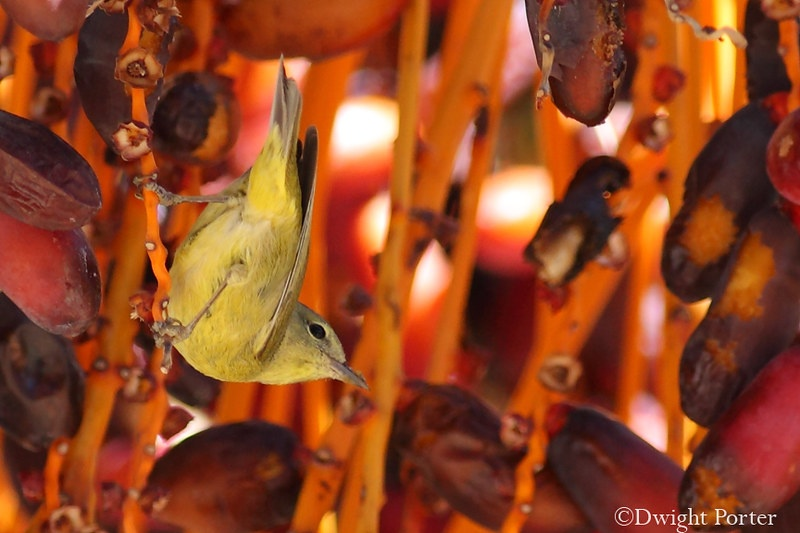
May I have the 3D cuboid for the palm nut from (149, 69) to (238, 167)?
[{"bbox_3d":[-0.166,-0.119,0.941,0.064,0.074,0.040,-24,14,-24],"label":"palm nut"}]

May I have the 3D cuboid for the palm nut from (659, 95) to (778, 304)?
[{"bbox_3d":[0.253,-0.040,0.950,0.042,0.061,0.179,-6,-60,-67],"label":"palm nut"}]

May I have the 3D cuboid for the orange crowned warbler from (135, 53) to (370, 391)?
[{"bbox_3d":[-0.109,0.001,0.860,0.154,0.247,0.077,-18,1,13],"label":"orange crowned warbler"}]
